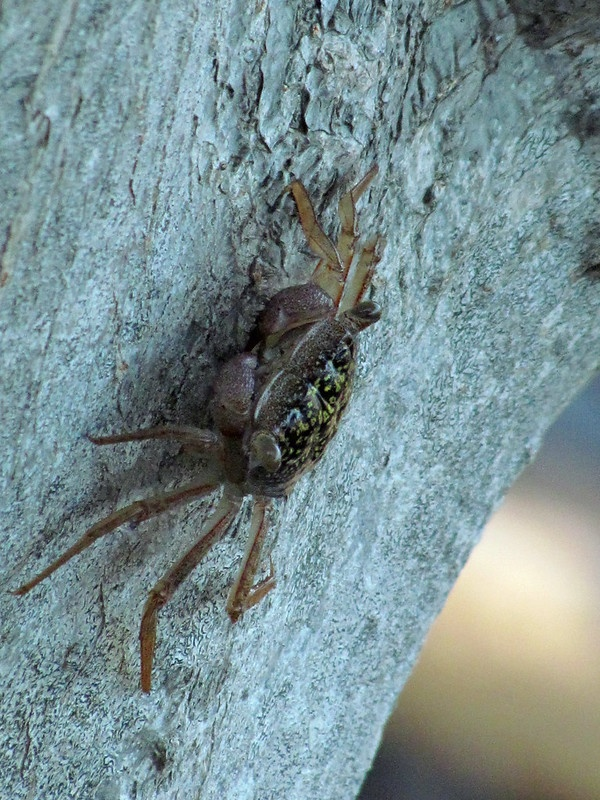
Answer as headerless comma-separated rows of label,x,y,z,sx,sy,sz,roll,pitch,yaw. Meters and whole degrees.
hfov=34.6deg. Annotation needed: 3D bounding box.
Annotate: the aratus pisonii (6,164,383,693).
aratus pisonii,-0.075,0.038,1.574,0.263,0.619,0.451,15,-20,37
